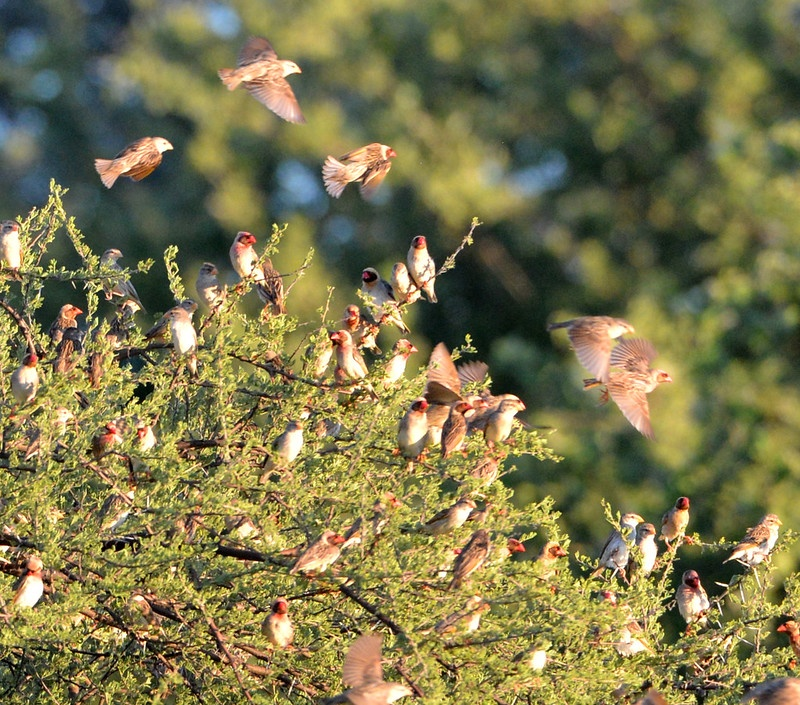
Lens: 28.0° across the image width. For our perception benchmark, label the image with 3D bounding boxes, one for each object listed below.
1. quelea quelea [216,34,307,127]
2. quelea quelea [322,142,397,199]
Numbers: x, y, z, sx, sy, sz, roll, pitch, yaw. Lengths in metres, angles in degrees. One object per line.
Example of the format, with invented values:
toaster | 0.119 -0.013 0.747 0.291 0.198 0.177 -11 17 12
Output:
quelea quelea | -1.094 -2.051 12.325 0.538 0.603 0.805 4 81 -43
quelea quelea | -0.309 -1.410 12.268 0.601 0.337 0.320 -15 49 -21
